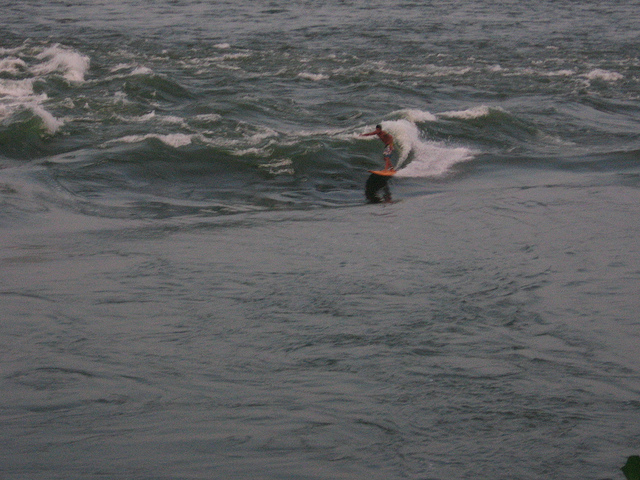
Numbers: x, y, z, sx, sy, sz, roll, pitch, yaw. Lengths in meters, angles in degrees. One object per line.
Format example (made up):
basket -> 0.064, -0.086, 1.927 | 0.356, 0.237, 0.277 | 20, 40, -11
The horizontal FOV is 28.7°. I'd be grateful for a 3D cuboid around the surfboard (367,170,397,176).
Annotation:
surfboard -> 1.932, -1.936, 35.633 | 0.824, 0.150, 0.591 | 2, 11, -1
